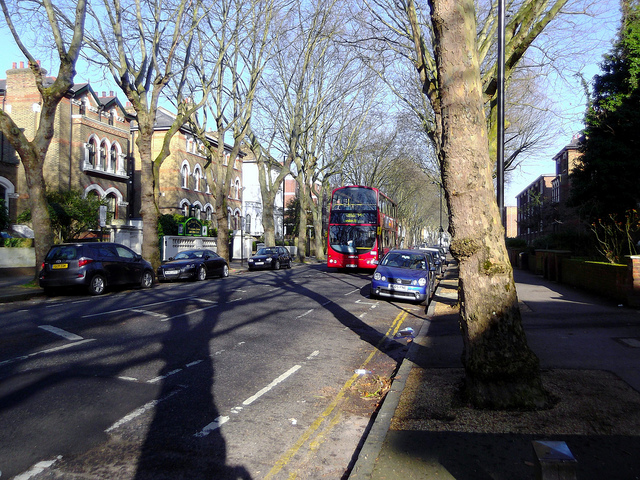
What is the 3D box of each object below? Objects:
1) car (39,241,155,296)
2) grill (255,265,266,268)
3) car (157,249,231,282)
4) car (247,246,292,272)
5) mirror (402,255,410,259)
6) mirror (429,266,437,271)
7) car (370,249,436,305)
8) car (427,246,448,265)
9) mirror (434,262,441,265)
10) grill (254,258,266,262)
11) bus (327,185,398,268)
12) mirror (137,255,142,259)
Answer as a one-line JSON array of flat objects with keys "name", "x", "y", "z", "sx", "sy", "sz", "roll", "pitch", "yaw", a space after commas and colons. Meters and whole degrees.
[{"name": "car", "x": -7.794, "y": 0.926, "z": 16.812, "sx": 1.581, "sy": 1.371, "sz": 3.034, "roll": -2, "pitch": 0, "yaw": 20}, {"name": "grill", "x": -3.746, "y": 1.609, "z": 29.434, "sx": 0.621, "sy": 0.160, "sz": 0.112, "roll": -1, "pitch": -2, "yaw": -8}, {"name": "car", "x": -6.020, "y": 1.176, "z": 22.534, "sx": 1.294, "sy": 1.498, "sz": 3.731, "roll": -2, "pitch": -3, "yaw": 24}, {"name": "car", "x": -3.241, "y": 1.125, "z": 30.738, "sx": 1.533, "sy": 1.612, "sz": 3.682, "roll": -2, "pitch": -3, "yaw": 22}, {"name": "mirror", "x": 3.023, "y": 0.575, "z": 16.527, "sx": 0.245, "sy": 0.138, "sz": 0.217, "roll": -1, "pitch": -2, "yaw": 0}, {"name": "mirror", "x": 3.937, "y": 0.973, "z": 16.362, "sx": 0.119, "sy": 0.163, "sz": 0.813, "roll": -2, "pitch": -3, "yaw": 24}, {"name": "car", "x": 2.779, "y": 1.211, "z": 15.818, "sx": 1.804, "sy": 1.763, "sz": 2.127, "roll": -2, "pitch": -2, "yaw": 25}, {"name": "car", "x": 7.509, "y": 0.912, "z": 30.114, "sx": 1.029, "sy": 1.198, "sz": 1.993, "roll": 0, "pitch": 8, "yaw": 13}, {"name": "mirror", "x": 4.992, "y": 0.972, "z": 20.101, "sx": 0.342, "sy": 0.153, "sz": 0.241, "roll": 7, "pitch": -9, "yaw": -42}, {"name": "grill", "x": -3.751, "y": 1.224, "z": 29.486, "sx": 0.702, "sy": 0.238, "sz": 0.153, "roll": 0, "pitch": -2, "yaw": -11}, {"name": "bus", "x": 3.227, "y": -0.702, "z": 29.276, "sx": 2.794, "sy": 4.718, "sz": 6.401, "roll": -2, "pitch": -3, "yaw": 34}, {"name": "mirror", "x": -6.947, "y": 0.631, "z": 18.095, "sx": 0.109, "sy": 0.147, "sz": 0.466, "roll": -1, "pitch": -3, "yaw": -7}]
